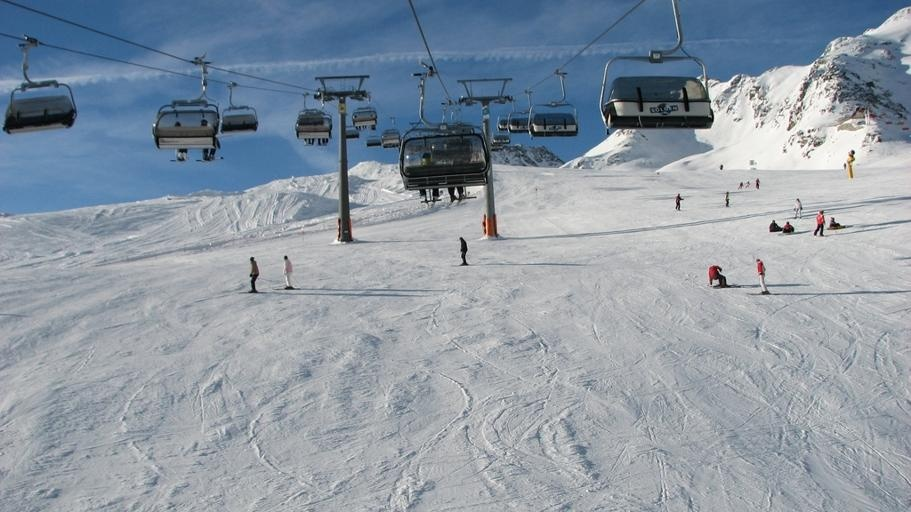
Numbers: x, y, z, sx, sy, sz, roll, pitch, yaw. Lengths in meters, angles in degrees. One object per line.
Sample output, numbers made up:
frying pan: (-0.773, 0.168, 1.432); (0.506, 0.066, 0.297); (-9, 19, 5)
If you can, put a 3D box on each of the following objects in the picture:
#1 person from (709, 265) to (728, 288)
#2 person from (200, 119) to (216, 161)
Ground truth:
person: (13.869, 1.053, 37.898); (0.946, 1.049, 0.783); (2, 11, 18)
person: (-12.344, -5.866, 36.214); (0.755, 2.041, 1.326); (-5, 11, -17)
